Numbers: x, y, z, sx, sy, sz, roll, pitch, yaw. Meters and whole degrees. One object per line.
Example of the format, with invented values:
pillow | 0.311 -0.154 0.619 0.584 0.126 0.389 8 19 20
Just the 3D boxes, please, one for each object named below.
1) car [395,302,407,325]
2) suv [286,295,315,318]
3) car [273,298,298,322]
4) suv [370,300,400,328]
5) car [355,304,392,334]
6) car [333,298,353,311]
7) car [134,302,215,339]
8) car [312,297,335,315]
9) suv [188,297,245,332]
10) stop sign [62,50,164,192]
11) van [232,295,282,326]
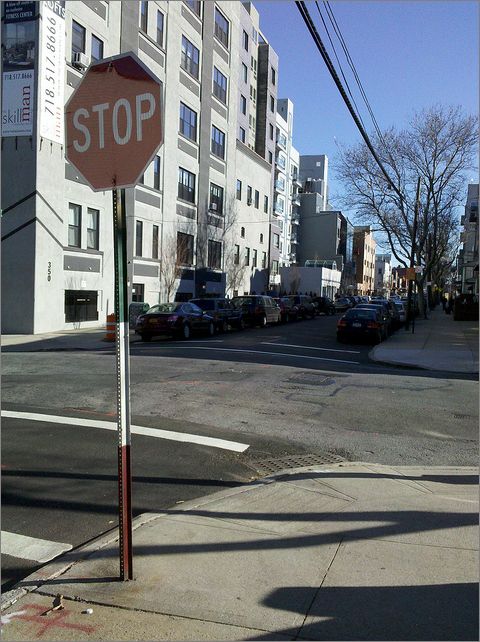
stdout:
car | 9.643 -0.288 40.684 0.849 1.082 2.311 -1 9 17
suv | 3.740 -0.906 41.364 0.864 1.264 2.359 0 10 16
car | 2.420 -0.662 36.246 0.658 1.056 1.933 0 9 18
suv | 7.326 -0.493 33.242 0.955 1.285 2.558 0 8 16
car | 5.382 -0.319 26.539 0.840 1.204 2.237 1 7 18
car | 8.759 -1.415 57.934 0.968 1.136 2.626 0 12 21
car | -2.059 -0.015 22.564 0.987 1.176 2.780 -1 3 22
car | 6.473 -1.177 51.844 0.927 1.176 2.544 1 8 17
suv | -0.767 -0.340 26.641 0.876 1.178 2.199 1 7 21
stop sign | -0.708 -1.109 3.737 0.655 0.759 0.143 2 2 26
van | 0.884 -0.504 31.359 0.940 1.228 2.516 1 9 22
